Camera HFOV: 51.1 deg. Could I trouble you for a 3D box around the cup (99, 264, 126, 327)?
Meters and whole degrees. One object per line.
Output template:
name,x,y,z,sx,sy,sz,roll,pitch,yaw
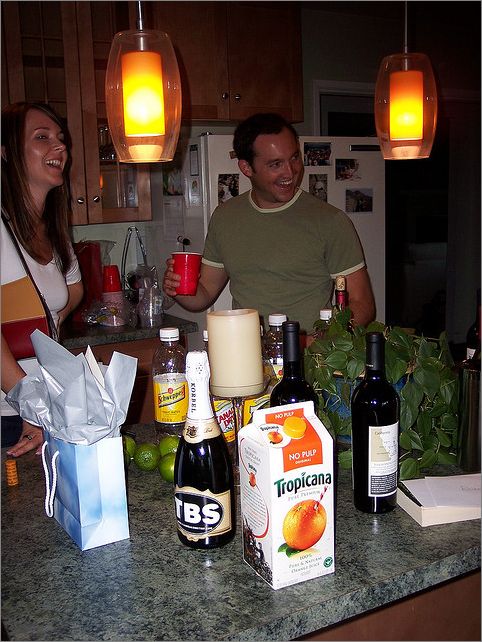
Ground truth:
cup,-0.655,-0.129,2.563,0.120,0.303,0.202,-5,7,-14

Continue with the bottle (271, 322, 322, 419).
bottle,0.067,0.060,0.673,0.064,0.133,0.135,-3,7,6

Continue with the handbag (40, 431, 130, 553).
handbag,-0.223,0.215,0.688,0.077,0.141,0.136,-11,12,-42

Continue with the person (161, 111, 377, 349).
person,0.123,-0.379,1.952,0.761,0.842,0.307,-1,7,22

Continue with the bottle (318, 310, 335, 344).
bottle,0.168,0.008,1.003,0.032,0.062,0.145,-2,7,9

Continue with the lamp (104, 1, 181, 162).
lamp,-0.182,-0.442,0.940,0.132,0.257,0.142,-5,7,-11

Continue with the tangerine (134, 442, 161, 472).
tangerine,-0.162,0.238,0.866,0.043,0.046,0.044,-9,4,-1

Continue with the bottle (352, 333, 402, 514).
bottle,0.194,0.155,0.692,0.081,0.237,0.073,-4,7,-8

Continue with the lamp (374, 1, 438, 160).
lamp,0.425,-0.555,1.294,0.151,0.254,0.118,-1,7,16

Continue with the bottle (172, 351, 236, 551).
bottle,-0.044,0.162,0.585,0.066,0.264,0.084,-4,7,-6
